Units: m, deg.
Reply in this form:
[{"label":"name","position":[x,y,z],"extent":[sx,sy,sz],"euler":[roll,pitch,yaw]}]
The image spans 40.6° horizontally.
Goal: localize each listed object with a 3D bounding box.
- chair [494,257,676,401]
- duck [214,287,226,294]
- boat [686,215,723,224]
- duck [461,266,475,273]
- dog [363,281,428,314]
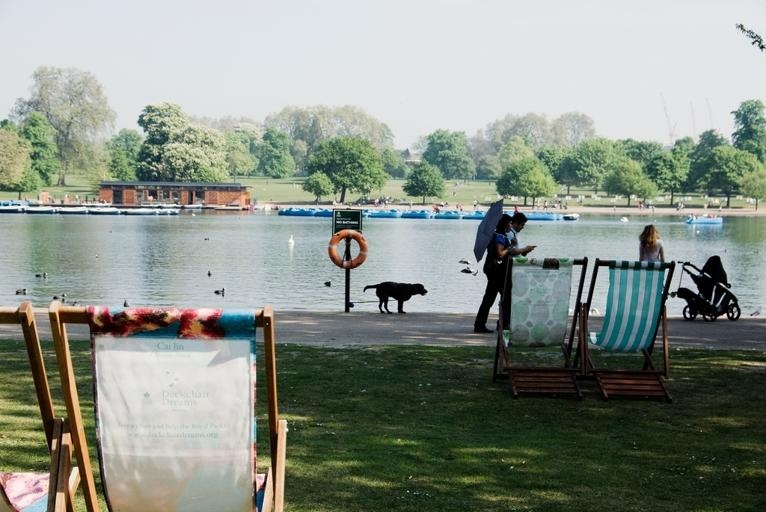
[{"label":"chair","position":[2.983,0.905,15.205],"extent":[2.510,2.039,2.336],"euler":[3,11,9]},{"label":"duck","position":[-5.704,1.202,35.497],"extent":[0.306,0.173,0.419],"euler":[1,0,1]},{"label":"boat","position":[33.973,-3.806,107.764],"extent":[2.646,0.714,2.508],"euler":[0,-3,7]},{"label":"duck","position":[3.366,0.559,41.062],"extent":[0.255,0.308,0.597],"euler":[38,18,13]},{"label":"dog","position":[0.265,0.949,22.831],"extent":[0.891,0.776,1.435],"euler":[4,11,14]}]
